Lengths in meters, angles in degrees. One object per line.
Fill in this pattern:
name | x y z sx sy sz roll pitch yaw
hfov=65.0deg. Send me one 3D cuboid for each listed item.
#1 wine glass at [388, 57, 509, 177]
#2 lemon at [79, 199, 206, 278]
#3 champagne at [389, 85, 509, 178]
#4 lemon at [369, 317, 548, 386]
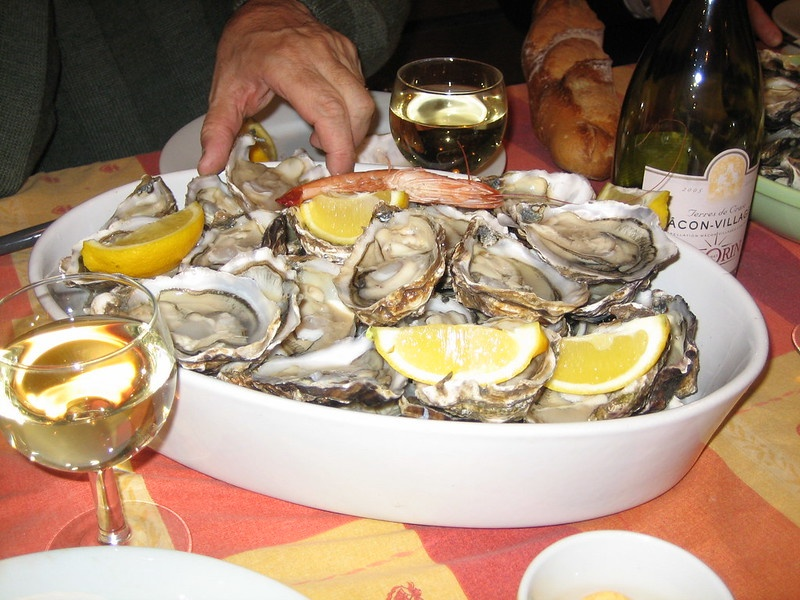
wine glass | 0.083 -0.339 1.275 0.264 0.264 0.247 -2 58 -2
lemon | -0.349 -0.084 0.900 0.176 0.077 0.067 -8 72 11
champagne | 0.109 -0.337 1.200 0.226 0.165 0.228 9 36 16
lemon | 0.052 0.062 0.680 0.139 0.036 0.083 -7 32 8
